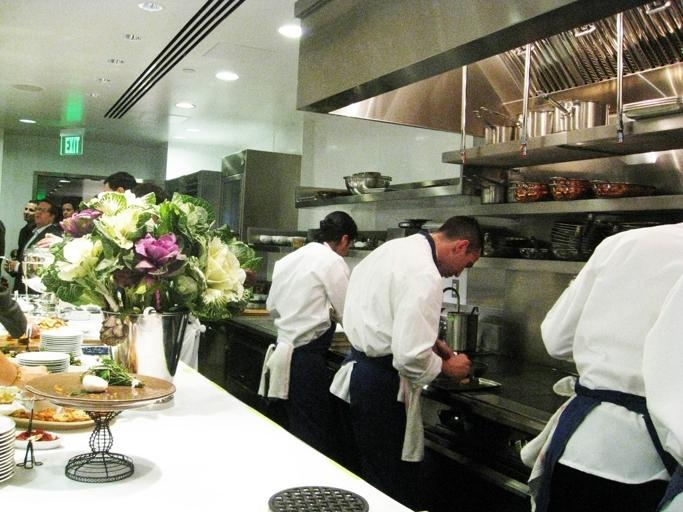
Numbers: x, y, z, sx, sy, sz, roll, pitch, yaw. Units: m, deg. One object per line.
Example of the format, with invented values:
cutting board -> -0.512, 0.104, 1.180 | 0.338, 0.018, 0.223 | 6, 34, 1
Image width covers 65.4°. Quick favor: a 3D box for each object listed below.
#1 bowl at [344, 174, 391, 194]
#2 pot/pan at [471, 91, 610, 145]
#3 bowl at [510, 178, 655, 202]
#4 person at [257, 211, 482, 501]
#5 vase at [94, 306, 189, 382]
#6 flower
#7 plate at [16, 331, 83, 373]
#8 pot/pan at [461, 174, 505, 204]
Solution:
bowl -> 0.222, -0.541, 4.005 | 0.213, 0.089, 0.265 | 1, 0, -21
pot/pan -> 1.033, -0.717, 2.740 | 0.656, 0.205, 0.400 | -2, 4, -21
bowl -> 1.221, -0.338, 2.772 | 0.262, 0.140, 0.717 | 5, 1, -33
person -> 0.309, 0.532, 2.718 | 0.690, 1.408, 0.609 | 6, 2, 1
vase -> -0.667, 0.289, 1.953 | 0.304, 0.261, 0.269 | 4, 2, 16
flower -> -0.650, 0.060, 1.815 | 0.576, 0.437, 0.544 | 7, 2, -17
plate -> -1.198, 0.397, 2.231 | 0.193, 0.078, 0.232 | 3, 0, -3
pot/pan -> 0.864, -0.388, 3.141 | 0.271, 0.168, 0.156 | 1, 0, -26
